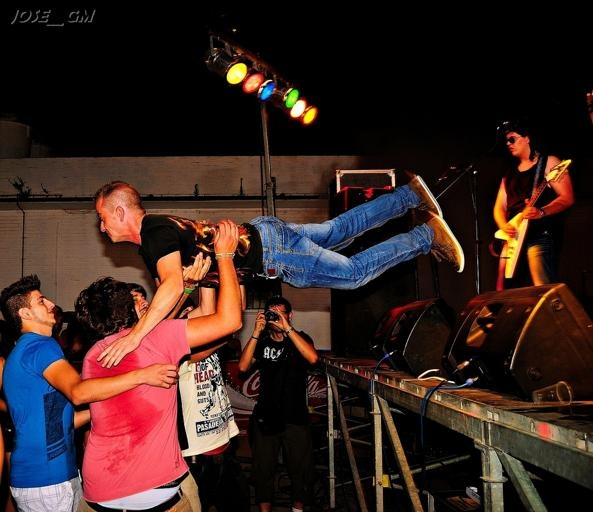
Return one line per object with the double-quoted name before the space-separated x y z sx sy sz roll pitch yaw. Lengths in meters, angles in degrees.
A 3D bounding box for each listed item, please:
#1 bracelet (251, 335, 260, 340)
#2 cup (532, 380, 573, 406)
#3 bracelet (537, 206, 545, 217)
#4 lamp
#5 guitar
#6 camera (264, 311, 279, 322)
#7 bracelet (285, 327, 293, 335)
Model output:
"bracelet" -0.394 0.797 5.919 0.050 0.040 0.052 -5 3 3
"cup" 1.485 0.812 3.574 0.215 0.150 0.154 -4 3 -10
"bracelet" 2.410 -0.432 6.041 0.059 0.074 0.069 -6 1 23
"lamp" -0.375 -1.646 5.810 0.393 0.434 1.267 20 6 39
"guitar" 2.424 -0.318 6.348 0.794 1.069 0.436 -6 1 27
"camera" -0.235 0.569 5.828 0.128 0.076 0.128 17 -15 33
"bracelet" -0.069 0.707 5.761 0.063 0.058 0.019 -1 13 -45
